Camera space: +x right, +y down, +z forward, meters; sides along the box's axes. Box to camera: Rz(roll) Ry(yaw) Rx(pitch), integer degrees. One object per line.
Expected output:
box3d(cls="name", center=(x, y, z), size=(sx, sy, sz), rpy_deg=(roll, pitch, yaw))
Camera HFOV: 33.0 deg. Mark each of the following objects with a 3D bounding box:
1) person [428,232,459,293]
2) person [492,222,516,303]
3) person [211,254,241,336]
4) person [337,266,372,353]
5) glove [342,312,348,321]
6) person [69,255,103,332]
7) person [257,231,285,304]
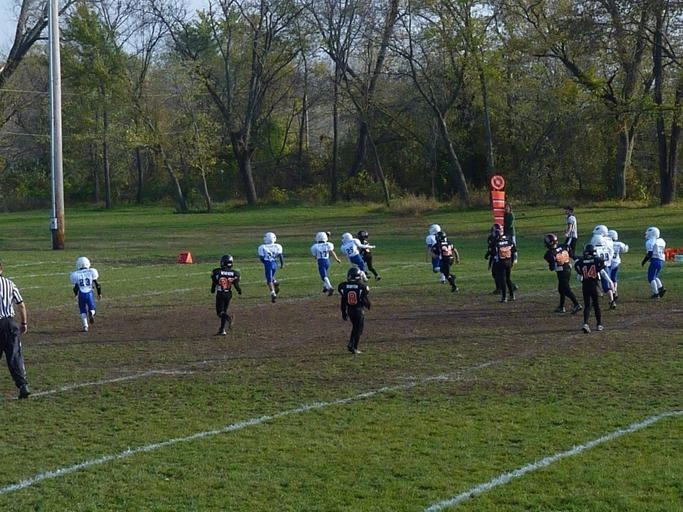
box3d(cls="person", center=(4.155, 0.275, 46.542), size=(1.180, 2.491, 0.988), rpy_deg=(-5, 0, 42))
box3d(cls="person", center=(6.106, 0.293, 43.630), size=(1.002, 2.732, 0.810), rpy_deg=(-7, 16, -11))
box3d(cls="person", center=(-3.972, 1.364, 40.718), size=(1.178, 2.634, 1.359), rpy_deg=(0, 1, -19))
box3d(cls="person", center=(0.475, 1.841, 38.256), size=(1.059, 2.779, 0.978), rpy_deg=(0, -2, 19))
box3d(cls="glove", center=(0.111, 2.022, 38.163), size=(0.222, 0.310, 0.109), rpy_deg=(-5, -11, 20))
box3d(cls="person", center=(-9.199, 1.324, 41.268), size=(1.094, 2.642, 1.490), rpy_deg=(0, 1, -7))
box3d(cls="person", center=(-2.906, 0.402, 45.278), size=(1.196, 2.638, 1.243), rpy_deg=(0, 1, 1))
